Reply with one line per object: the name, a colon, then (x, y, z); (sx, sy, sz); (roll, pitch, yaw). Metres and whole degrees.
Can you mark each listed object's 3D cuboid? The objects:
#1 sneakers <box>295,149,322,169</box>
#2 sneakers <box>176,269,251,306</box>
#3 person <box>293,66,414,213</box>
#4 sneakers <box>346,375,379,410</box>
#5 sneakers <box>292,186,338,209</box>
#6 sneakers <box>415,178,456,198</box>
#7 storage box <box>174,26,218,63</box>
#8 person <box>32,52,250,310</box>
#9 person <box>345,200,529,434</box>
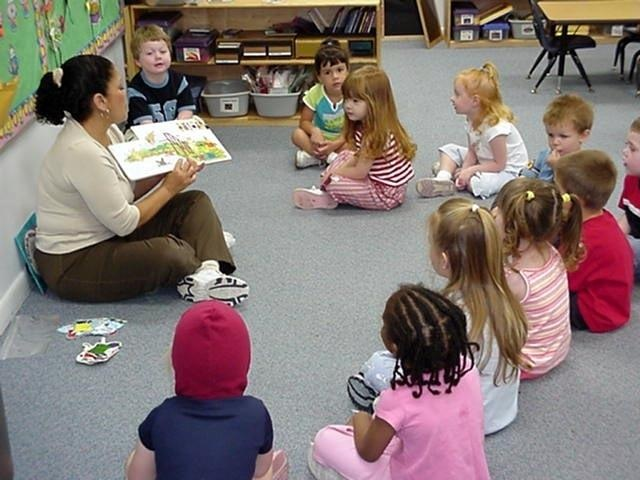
sneakers: (-0.092, -0.630, 3.923); (0.118, 0.096, 0.266); (-4, 2, 29)
sneakers: (-0.533, 0.225, 2.573); (0.360, 0.151, 0.176); (8, 20, 2)
person: (0.182, -0.652, 3.319); (0.874, 0.888, 0.637); (-14, 30, -26)
sneakers: (0.162, 0.596, 1.945); (0.077, 0.075, 0.157); (7, 34, -52)
sneakers: (-0.035, -0.276, 3.400); (0.288, 0.127, 0.135); (7, 28, -6)
sneakers: (0.784, -0.353, 3.415); (0.259, 0.120, 0.117); (4, 19, -3)
storage box: (-1.110, -1.736, 4.453); (0.266, 0.167, 0.394); (2, 28, 2)
person: (-0.720, -0.485, 2.899); (1.399, 1.432, 1.013); (0, 33, -13)
person: (0.458, 0.275, 1.967); (0.659, 0.822, 0.690); (-15, 20, -34)
